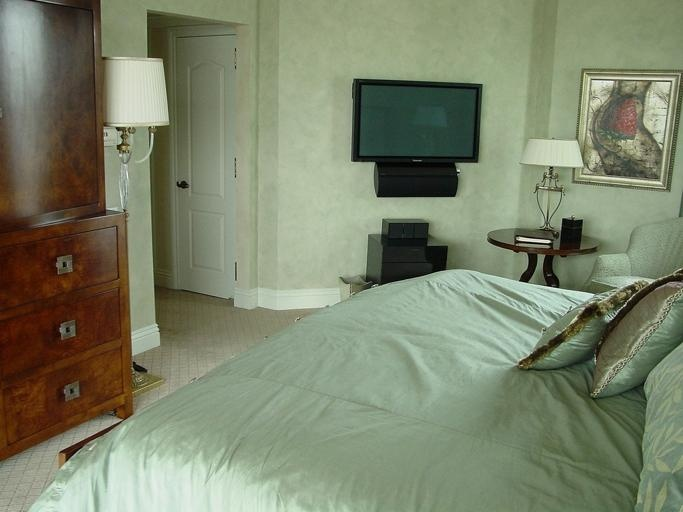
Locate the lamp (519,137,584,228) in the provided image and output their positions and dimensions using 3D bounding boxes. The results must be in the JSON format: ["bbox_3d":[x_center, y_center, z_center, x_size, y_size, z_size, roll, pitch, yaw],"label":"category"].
[{"bbox_3d":[1.820,-0.619,4.946,0.471,0.812,0.647,9,16,22],"label":"lamp"}]

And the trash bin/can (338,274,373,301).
[{"bbox_3d":[0.146,0.240,5.127,0.230,0.306,0.220,-15,30,-25],"label":"trash bin/can"}]

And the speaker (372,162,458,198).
[{"bbox_3d":[0.671,-0.677,4.988,0.733,0.297,0.106,0,15,-10],"label":"speaker"}]

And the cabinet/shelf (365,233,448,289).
[{"bbox_3d":[0.584,-0.063,4.879,0.565,0.542,0.436,-1,11,-5],"label":"cabinet/shelf"}]
